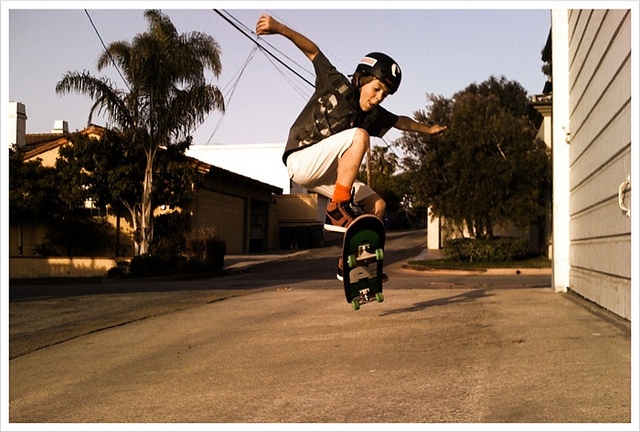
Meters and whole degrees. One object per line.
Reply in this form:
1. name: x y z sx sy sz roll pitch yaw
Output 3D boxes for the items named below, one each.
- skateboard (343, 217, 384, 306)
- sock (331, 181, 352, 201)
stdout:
1. skateboard: 0.512 0.335 5.758 0.362 0.251 1.373 -3 13 7
2. sock: 0.230 -0.285 5.578 0.155 0.215 0.194 8 8 2
